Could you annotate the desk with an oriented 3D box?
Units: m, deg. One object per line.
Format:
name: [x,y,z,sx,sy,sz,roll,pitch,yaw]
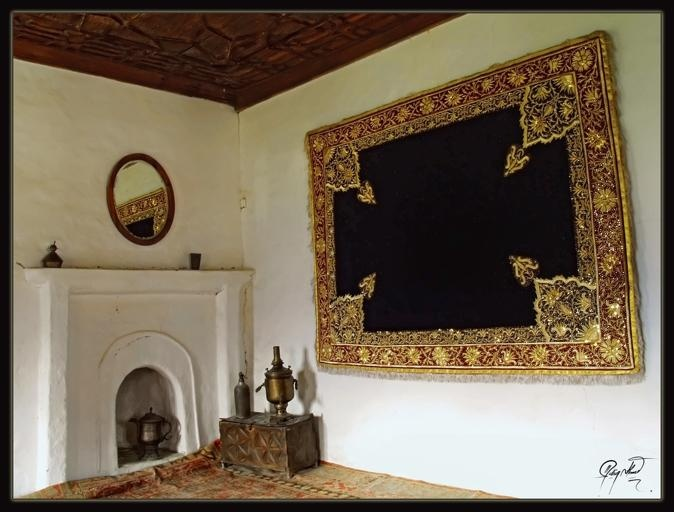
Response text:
desk: [-0.622,1.735,5.919,0.830,0.464,0.511,-1,1,33]

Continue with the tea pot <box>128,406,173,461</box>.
tea pot: [-1.823,1.724,6.198,0.383,0.443,0.502,-1,1,-16]

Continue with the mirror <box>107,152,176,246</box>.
mirror: [-1.951,-0.543,6.169,0.051,1.249,0.901,-12,-12,39]
